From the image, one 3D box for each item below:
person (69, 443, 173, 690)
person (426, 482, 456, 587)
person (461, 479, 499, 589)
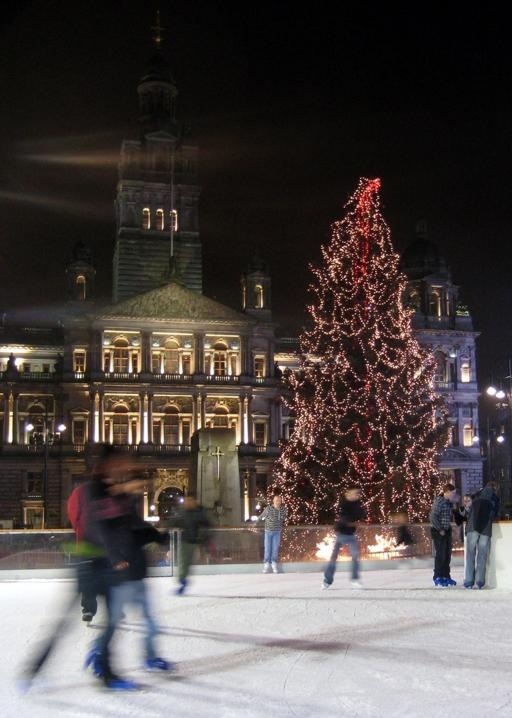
[{"bbox_3d":[-1.053,1.671,8.455,0.714,1.857,1.438,1,-6,-3],"label":"person"},{"bbox_3d":[2.847,2.691,15.341,0.361,1.547,0.850,-1,-7,11],"label":"person"},{"bbox_3d":[3.245,2.546,14.537,0.474,1.511,0.676,0,-7,5],"label":"person"}]
